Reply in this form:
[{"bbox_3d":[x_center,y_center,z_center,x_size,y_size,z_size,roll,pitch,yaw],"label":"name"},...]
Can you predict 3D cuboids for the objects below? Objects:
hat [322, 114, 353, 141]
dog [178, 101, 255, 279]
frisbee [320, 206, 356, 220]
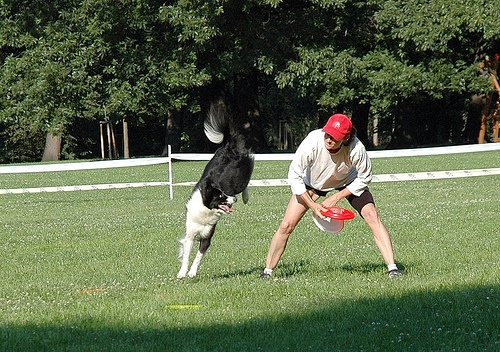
[{"bbox_3d":[1.431,-0.804,10.433,0.339,0.267,0.481,29,37,16],"label":"hat"},{"bbox_3d":[-0.321,0.106,12.794,1.028,1.671,4.080,29,43,-13],"label":"dog"},{"bbox_3d":[1.477,0.634,10.718,0.548,0.169,0.365,1,6,16],"label":"frisbee"}]
